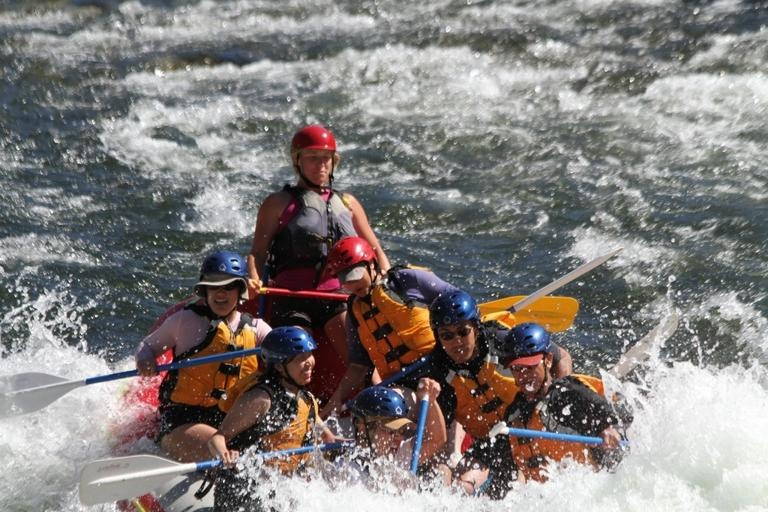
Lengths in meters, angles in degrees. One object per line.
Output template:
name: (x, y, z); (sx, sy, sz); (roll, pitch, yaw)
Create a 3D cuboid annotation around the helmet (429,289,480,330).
helmet: (0.813, 0.568, 13.209); (0.403, 0.496, 0.433); (-3, 27, 16)

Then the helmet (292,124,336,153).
helmet: (-0.868, -1.440, 13.942); (0.444, 0.202, 0.337); (0, 4, 32)

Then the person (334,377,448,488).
person: (0.191, 1.977, 13.125); (1.101, 1.354, 0.899); (12, 60, -4)

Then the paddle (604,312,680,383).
paddle: (3.359, 1.219, 14.867); (0.212, 1.336, 0.138); (54, 18, 17)

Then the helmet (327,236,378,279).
helmet: (-0.408, -0.013, 13.598); (0.564, 0.428, 0.411); (18, -19, -31)

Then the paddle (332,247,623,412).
paddle: (1.164, 0.972, 14.085); (3.603, 0.265, 0.715); (-25, 17, -10)

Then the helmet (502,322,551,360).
helmet: (1.618, 0.959, 12.999); (0.372, 0.235, 0.518); (-2, 3, 37)
